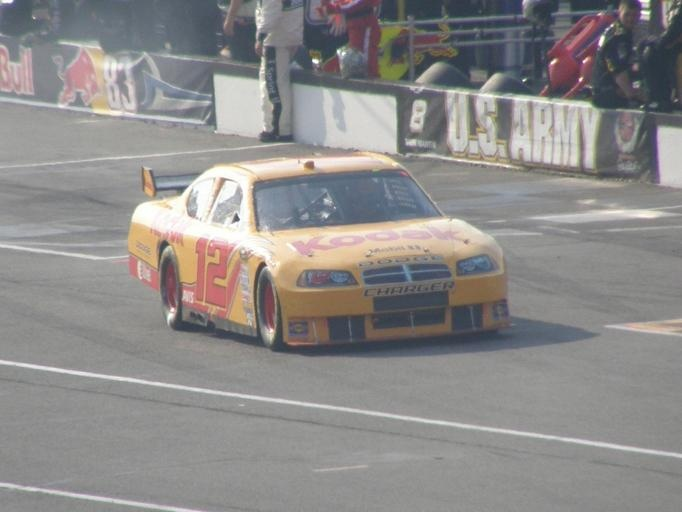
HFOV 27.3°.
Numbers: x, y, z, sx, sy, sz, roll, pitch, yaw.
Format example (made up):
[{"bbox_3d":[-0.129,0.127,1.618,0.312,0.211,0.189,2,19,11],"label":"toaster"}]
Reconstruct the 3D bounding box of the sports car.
[{"bbox_3d":[-0.496,-0.077,13.790,1.913,1.142,3.049,-4,3,-29],"label":"sports car"}]
